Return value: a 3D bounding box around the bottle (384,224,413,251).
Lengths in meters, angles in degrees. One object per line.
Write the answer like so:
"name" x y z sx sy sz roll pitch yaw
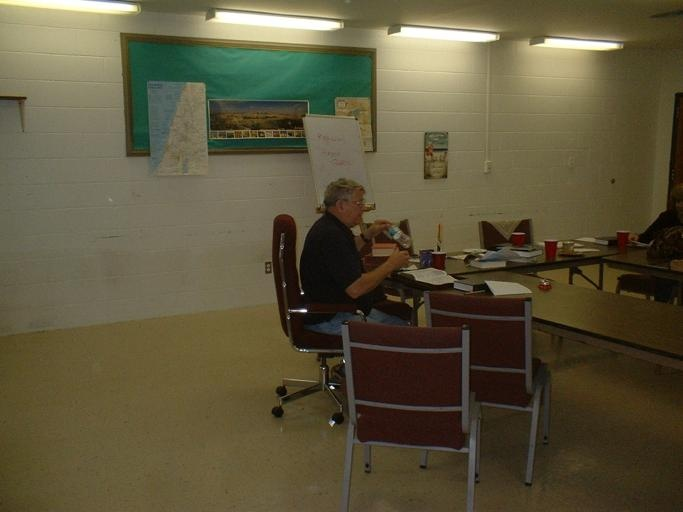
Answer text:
"bottle" 0.405 -0.119 3.923 0.101 0.083 0.236 -41 63 -19

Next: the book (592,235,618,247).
"book" 2.415 -0.121 4.906 0.182 0.041 0.176 -7 15 -28

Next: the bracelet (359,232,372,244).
"bracelet" 0.165 -0.117 3.868 0.057 0.042 0.079 12 27 -23

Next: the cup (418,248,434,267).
"cup" 0.591 0.031 3.750 0.113 0.118 0.085 -4 11 -22

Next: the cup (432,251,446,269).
"cup" 0.685 0.042 3.698 0.105 0.102 0.095 -2 8 -23

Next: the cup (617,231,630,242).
"cup" 2.328 -0.146 4.420 0.091 0.068 0.083 -1 9 0

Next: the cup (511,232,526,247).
"cup" 1.402 -0.116 4.277 0.138 0.106 0.132 2 6 0

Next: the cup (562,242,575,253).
"cup" 1.730 -0.051 4.067 0.066 0.062 0.082 0 4 -1

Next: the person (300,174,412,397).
"person" 0.094 0.188 3.582 0.802 1.272 0.722 -10 14 -35
